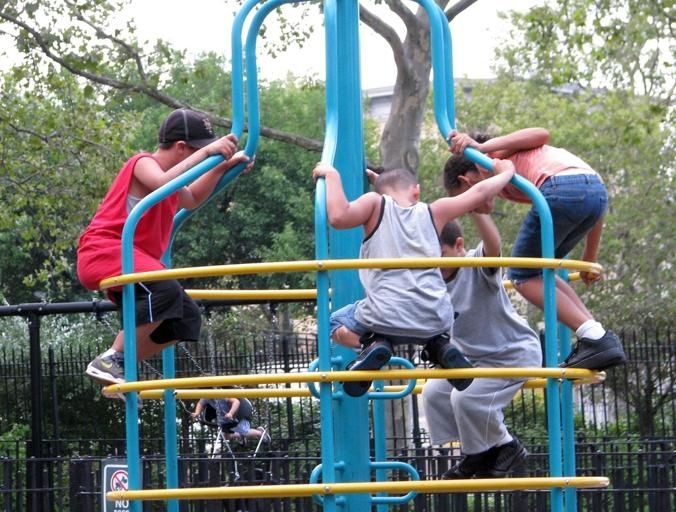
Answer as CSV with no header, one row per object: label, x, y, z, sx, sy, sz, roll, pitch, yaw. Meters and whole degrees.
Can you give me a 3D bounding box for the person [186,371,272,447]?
person,-1.614,2.371,20.691,1.128,1.125,0.985,2,0,-9
